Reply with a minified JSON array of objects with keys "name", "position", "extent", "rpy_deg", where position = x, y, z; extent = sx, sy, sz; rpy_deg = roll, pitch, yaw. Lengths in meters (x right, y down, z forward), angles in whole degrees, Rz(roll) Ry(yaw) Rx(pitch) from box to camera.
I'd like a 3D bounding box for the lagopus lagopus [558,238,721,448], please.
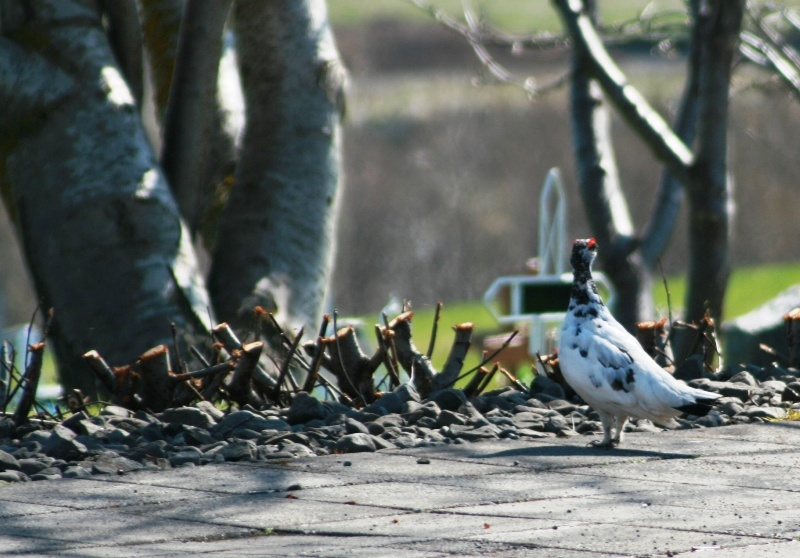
[{"name":"lagopus lagopus","position":[2.341,0.627,22.293],"extent":[1.857,1.855,0.895],"rpy_deg":[8,10,39]}]
